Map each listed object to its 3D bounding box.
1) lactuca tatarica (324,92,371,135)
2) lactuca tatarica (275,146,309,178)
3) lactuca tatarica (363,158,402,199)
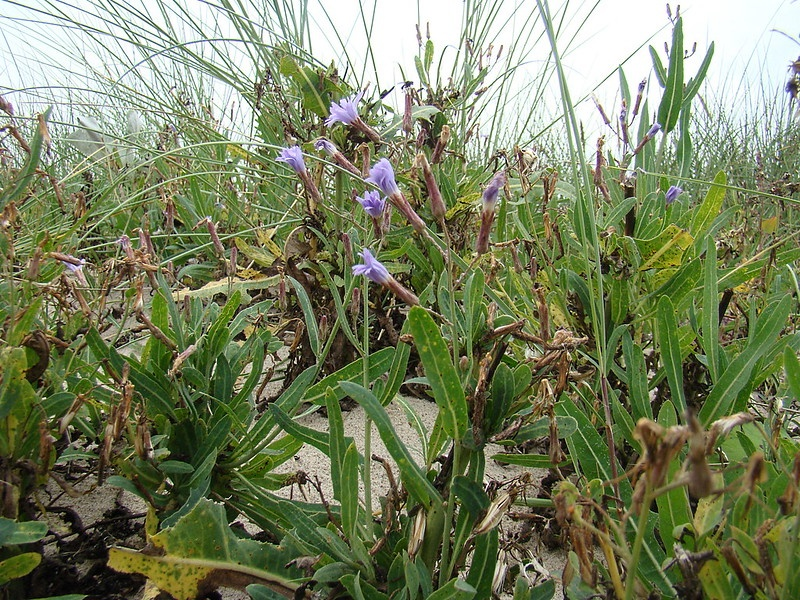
[{"bbox_3d":[-0.129,-0.462,1.597,0.090,0.090,0.238,1,25,-4],"label":"lactuca tatarica"},{"bbox_3d":[-0.269,-0.358,1.650,0.062,0.081,0.160,-2,25,-10],"label":"lactuca tatarica"},{"bbox_3d":[-0.028,-0.234,1.234,0.057,0.073,0.055,1,22,-4],"label":"lactuca tatarica"}]
